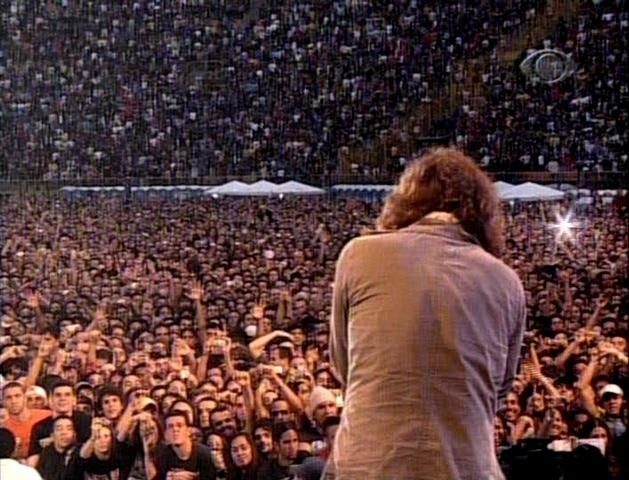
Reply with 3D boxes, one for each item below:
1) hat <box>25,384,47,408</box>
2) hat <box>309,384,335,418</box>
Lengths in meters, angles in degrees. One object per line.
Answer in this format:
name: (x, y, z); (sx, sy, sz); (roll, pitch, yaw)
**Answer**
hat: (-3.991, 2.216, 19.401); (0.216, 0.320, 0.312); (-5, -16, -17)
hat: (0.123, 2.287, 19.440); (0.279, 0.386, 0.408); (1, 21, -2)
